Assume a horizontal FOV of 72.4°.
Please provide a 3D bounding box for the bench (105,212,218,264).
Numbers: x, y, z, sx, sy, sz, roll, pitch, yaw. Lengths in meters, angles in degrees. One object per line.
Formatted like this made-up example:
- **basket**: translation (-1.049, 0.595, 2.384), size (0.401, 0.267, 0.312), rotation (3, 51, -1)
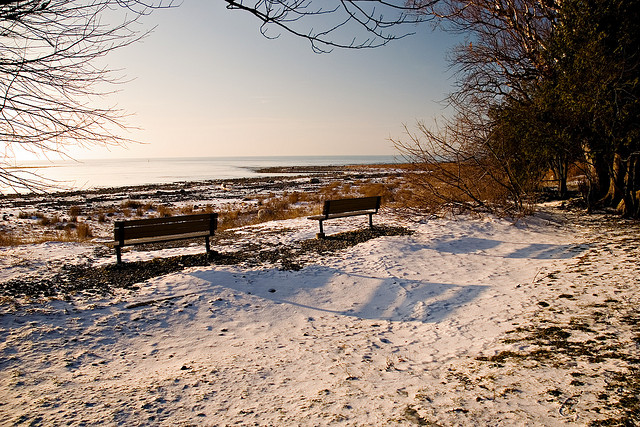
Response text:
- **bench**: translation (-3.570, 0.636, 10.662), size (2.788, 0.911, 0.844), rotation (-6, -21, 12)

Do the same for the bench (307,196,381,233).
- **bench**: translation (0.779, 0.040, 13.092), size (0.867, 0.913, 2.668), rotation (-9, -1, 42)
